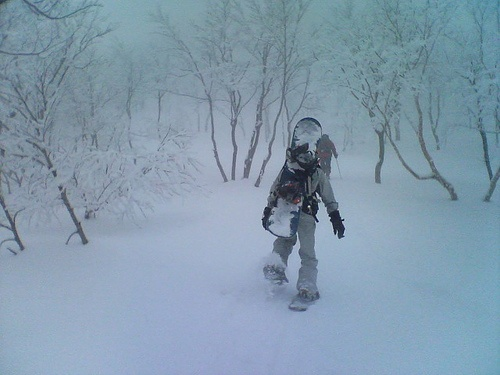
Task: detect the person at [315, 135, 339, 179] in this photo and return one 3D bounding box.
[{"bbox_3d":[2.379,-1.034,13.715,0.749,1.464,0.435,-1,-24,9],"label":"person"}]
